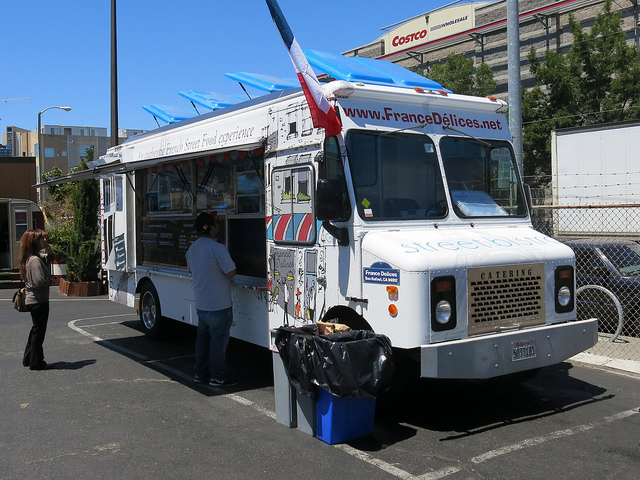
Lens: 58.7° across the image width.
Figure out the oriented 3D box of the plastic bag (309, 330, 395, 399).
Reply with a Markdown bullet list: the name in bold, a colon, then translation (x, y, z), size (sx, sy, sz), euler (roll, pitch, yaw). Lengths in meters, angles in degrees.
- **plastic bag**: translation (0.348, 1.309, 5.963), size (0.593, 0.565, 0.777), euler (1, -7, -30)

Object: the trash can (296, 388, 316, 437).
- **trash can**: translation (-0.107, 1.961, 6.620), size (0.297, 0.512, 0.335), euler (-3, -37, 12)

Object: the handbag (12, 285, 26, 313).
- **handbag**: translation (-4.759, 0.948, 9.047), size (0.155, 0.365, 0.409), euler (-2, 4, -27)
